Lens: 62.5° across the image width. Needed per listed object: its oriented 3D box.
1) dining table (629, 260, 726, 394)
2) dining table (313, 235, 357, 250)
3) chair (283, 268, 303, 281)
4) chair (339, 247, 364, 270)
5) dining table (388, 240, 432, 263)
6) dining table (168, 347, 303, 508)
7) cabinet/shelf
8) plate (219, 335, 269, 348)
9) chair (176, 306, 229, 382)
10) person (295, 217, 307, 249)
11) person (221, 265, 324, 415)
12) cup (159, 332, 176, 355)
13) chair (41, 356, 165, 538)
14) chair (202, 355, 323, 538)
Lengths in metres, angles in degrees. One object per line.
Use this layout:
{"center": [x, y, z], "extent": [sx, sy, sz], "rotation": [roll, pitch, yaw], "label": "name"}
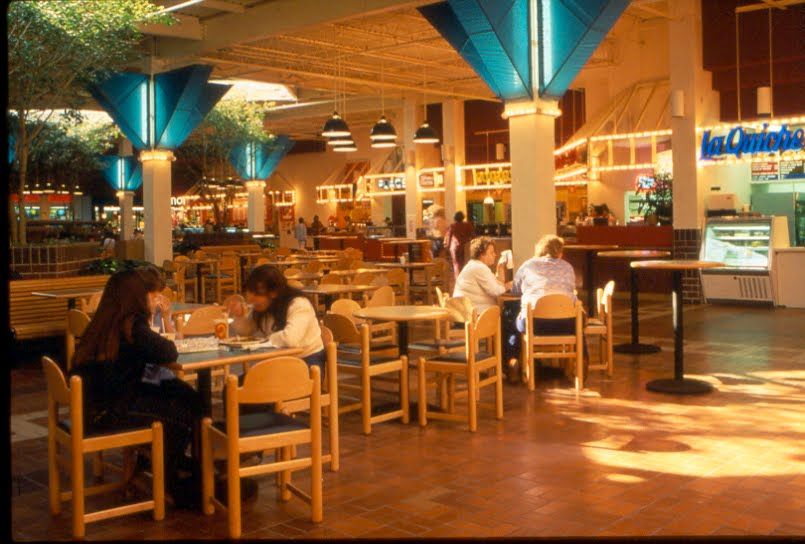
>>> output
{"center": [3.376, 0.636, 8.085], "extent": [0.821, 1.478, 1.035], "rotation": [2, 8, 19], "label": "dining table"}
{"center": [-2.766, -1.212, 27.678], "extent": [0.698, 0.726, 3.249], "rotation": [-5, 9, -34], "label": "dining table"}
{"center": [-1.893, 0.047, 11.498], "extent": [0.267, 0.352, 0.262], "rotation": [0, 0, -28], "label": "chair"}
{"center": [-1.179, -0.317, 15.071], "extent": [0.555, 0.592, 0.625], "rotation": [0, -5, -5], "label": "chair"}
{"center": [0.168, -0.679, 20.937], "extent": [0.914, 0.551, 0.927], "rotation": [2, 3, 33], "label": "dining table"}
{"center": [-1.506, 1.190, 5.825], "extent": [1.215, 1.116, 1.191], "rotation": [1, -1, -45], "label": "dining table"}
{"center": [7.148, -0.221, 13.747], "extent": [1.903, 2.508, 2.021], "rotation": [1, 2, 33], "label": "cabinet/shelf"}
{"center": [-1.328, 0.604, 5.679], "extent": [0.417, 0.053, 0.289], "rotation": [3, 8, 21], "label": "plate"}
{"center": [-1.988, 0.596, 6.818], "extent": [0.444, 0.743, 0.499], "rotation": [0, -1, 4], "label": "chair"}
{"center": [-4.596, -1.762, 29.991], "extent": [0.524, 1.414, 2.170], "rotation": [-2, 8, -9], "label": "person"}
{"center": [-1.124, 0.772, 6.061], "extent": [0.703, 1.550, 0.928], "rotation": [-20, -23, 36], "label": "person"}
{"center": [-1.847, 0.575, 5.251], "extent": [0.124, 0.152, 0.163], "rotation": [-6, 3, -26], "label": "cup"}
{"center": [-2.457, 1.268, 5.350], "extent": [0.753, 1.291, 1.367], "rotation": [-5, 9, -32], "label": "chair"}
{"center": [-1.100, 1.236, 5.232], "extent": [0.956, 1.265, 0.988], "rotation": [-3, 8, -16], "label": "chair"}
